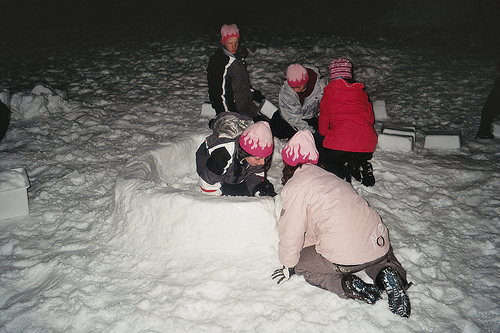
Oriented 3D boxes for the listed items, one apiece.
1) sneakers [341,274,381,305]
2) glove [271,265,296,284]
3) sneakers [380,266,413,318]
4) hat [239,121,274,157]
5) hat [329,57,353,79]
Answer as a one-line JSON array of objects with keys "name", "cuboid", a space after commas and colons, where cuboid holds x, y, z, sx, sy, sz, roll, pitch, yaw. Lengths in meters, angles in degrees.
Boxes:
[{"name": "sneakers", "cuboid": [0.936, 1.047, 3.319, 0.347, 0.199, 0.131, 9, -18, -13]}, {"name": "glove", "cuboid": [0.295, 0.984, 3.504, 0.136, 0.209, 0.055, 42, 34, -17]}, {"name": "sneakers", "cuboid": [1.225, 1.068, 3.389, 0.195, 0.472, 0.216, -21, -6, 15]}, {"name": "hat", "cuboid": [0.091, -0.279, 3.930, 0.275, 0.260, 0.368, 27, 13, -3]}, {"name": "hat", "cuboid": [1.061, -1.137, 4.495, 0.251, 0.232, 0.282, 9, 17, 37]}]
